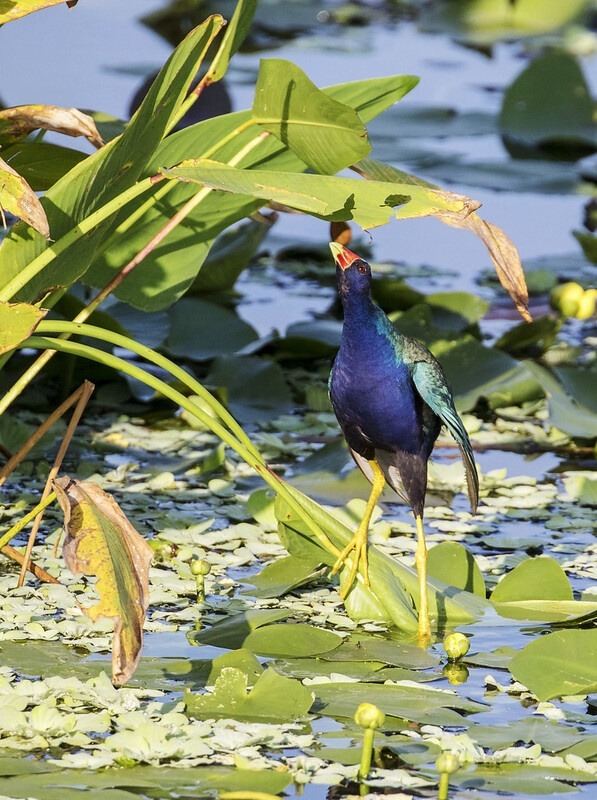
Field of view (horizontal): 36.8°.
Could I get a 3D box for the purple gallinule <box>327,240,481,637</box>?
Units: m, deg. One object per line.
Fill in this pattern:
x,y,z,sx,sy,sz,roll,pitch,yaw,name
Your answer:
0.172,0.060,1.447,0.239,0.601,0.324,4,7,11,purple gallinule
